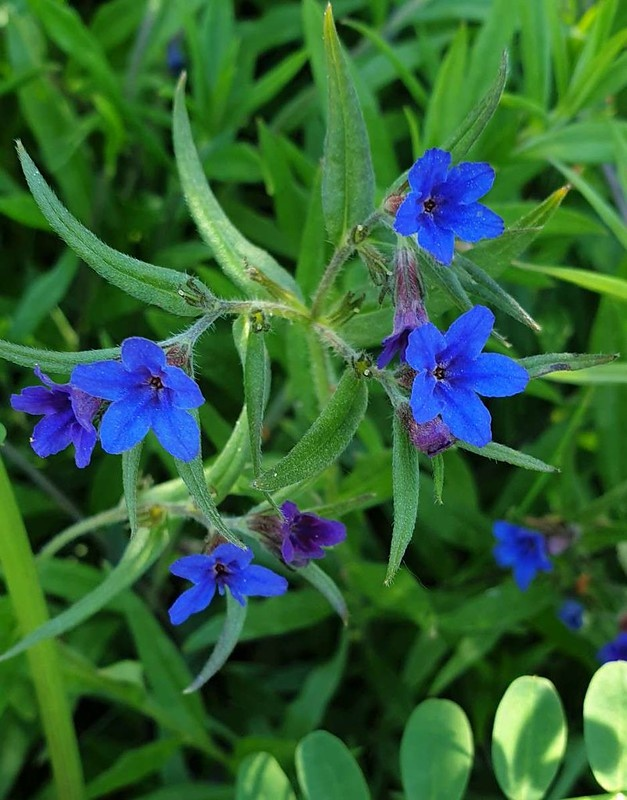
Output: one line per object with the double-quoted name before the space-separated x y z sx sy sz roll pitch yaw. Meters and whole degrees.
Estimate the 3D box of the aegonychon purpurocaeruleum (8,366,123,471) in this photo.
"aegonychon purpurocaeruleum" -0.346 0.028 1.186 0.149 0.064 0.128 -4 85 5

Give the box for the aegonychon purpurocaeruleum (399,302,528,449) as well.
"aegonychon purpurocaeruleum" 0.190 -0.044 1.130 0.209 0.059 0.170 -9 105 -14

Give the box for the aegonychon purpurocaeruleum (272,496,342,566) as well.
"aegonychon purpurocaeruleum" -0.001 0.186 1.248 0.090 0.138 0.087 -3 71 1

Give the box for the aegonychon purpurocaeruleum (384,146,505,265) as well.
"aegonychon purpurocaeruleum" 0.168 -0.272 1.154 0.141 0.148 0.045 47 41 -5
